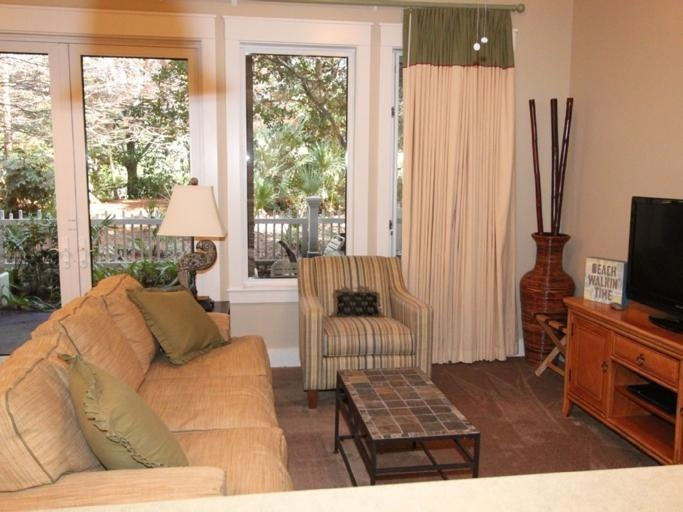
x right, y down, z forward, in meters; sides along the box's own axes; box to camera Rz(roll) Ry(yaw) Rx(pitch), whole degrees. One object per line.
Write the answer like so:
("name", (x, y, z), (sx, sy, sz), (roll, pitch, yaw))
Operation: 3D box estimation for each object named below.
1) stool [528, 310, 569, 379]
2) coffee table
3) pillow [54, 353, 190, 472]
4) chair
("stool", (1.808, 0.747, 4.416), (0.386, 0.383, 0.292), (8, 7, -30))
("coffee table", (0.353, 1.036, 3.045), (0.787, 0.554, 0.875), (0, 11, -2))
("pillow", (-0.823, 0.667, 2.177), (0.302, 0.470, 0.483), (-8, 1, -10))
("chair", (-0.381, -0.046, 4.915), (0.688, 0.350, 0.383), (-2, 7, -6))
